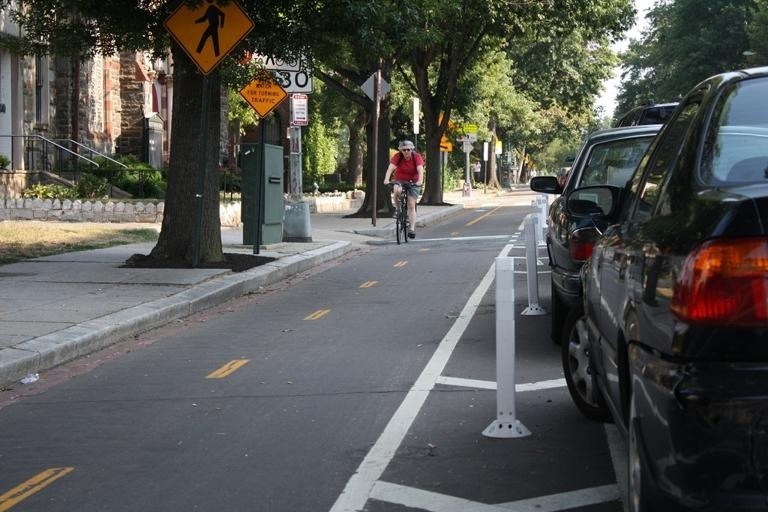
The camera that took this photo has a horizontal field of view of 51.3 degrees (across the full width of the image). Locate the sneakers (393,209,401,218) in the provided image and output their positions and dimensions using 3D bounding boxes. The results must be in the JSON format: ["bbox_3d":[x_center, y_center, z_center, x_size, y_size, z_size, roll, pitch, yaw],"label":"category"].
[{"bbox_3d":[0.299,-1.042,19.387,0.160,0.224,0.499,0,-4,3],"label":"sneakers"}]
